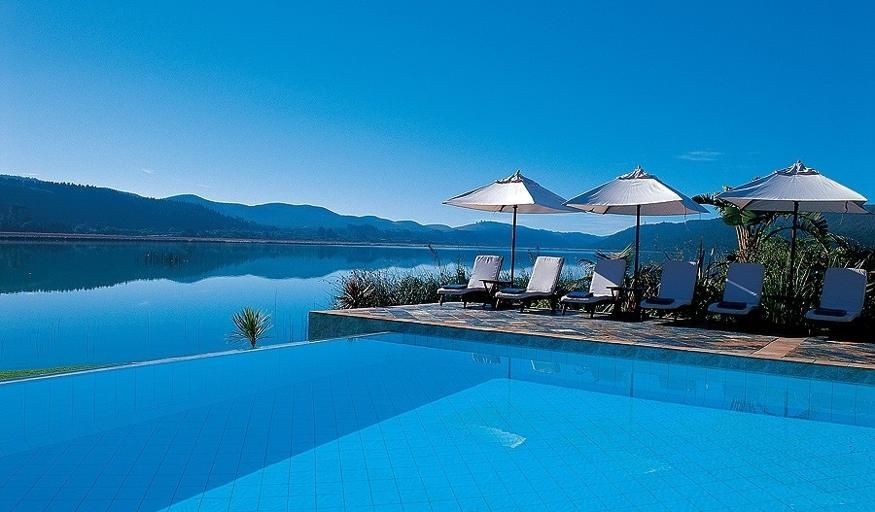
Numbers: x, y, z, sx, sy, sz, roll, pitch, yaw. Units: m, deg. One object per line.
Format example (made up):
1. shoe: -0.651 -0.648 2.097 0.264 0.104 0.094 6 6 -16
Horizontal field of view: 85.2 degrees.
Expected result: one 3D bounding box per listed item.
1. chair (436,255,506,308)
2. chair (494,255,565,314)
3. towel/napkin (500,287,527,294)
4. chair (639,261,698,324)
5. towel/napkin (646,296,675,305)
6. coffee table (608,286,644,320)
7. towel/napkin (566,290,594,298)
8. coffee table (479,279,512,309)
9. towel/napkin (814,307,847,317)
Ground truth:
1. chair: 1.012 0.648 13.387 1.835 1.097 1.028 -8 7 -35
2. chair: 2.639 0.735 12.755 1.750 1.493 1.285 1 8 11
3. towel/napkin: 2.104 0.891 12.584 0.711 0.080 0.531 1 7 11
4. chair: 5.713 0.749 11.166 0.818 1.139 1.508 5 10 35
5. towel/napkin: 5.244 1.007 10.771 0.688 0.091 0.356 -2 7 -14
6. coffee table: 4.937 1.212 12.271 1.059 0.860 1.006 2 -12 1
7. towel/napkin: 3.731 0.940 11.859 0.646 0.067 0.879 3 8 25
8. coffee table: 1.761 0.954 13.431 1.021 0.652 0.820 3 6 35
9. towel/napkin: 8.138 1.120 9.585 0.607 0.084 0.433 2 8 22
